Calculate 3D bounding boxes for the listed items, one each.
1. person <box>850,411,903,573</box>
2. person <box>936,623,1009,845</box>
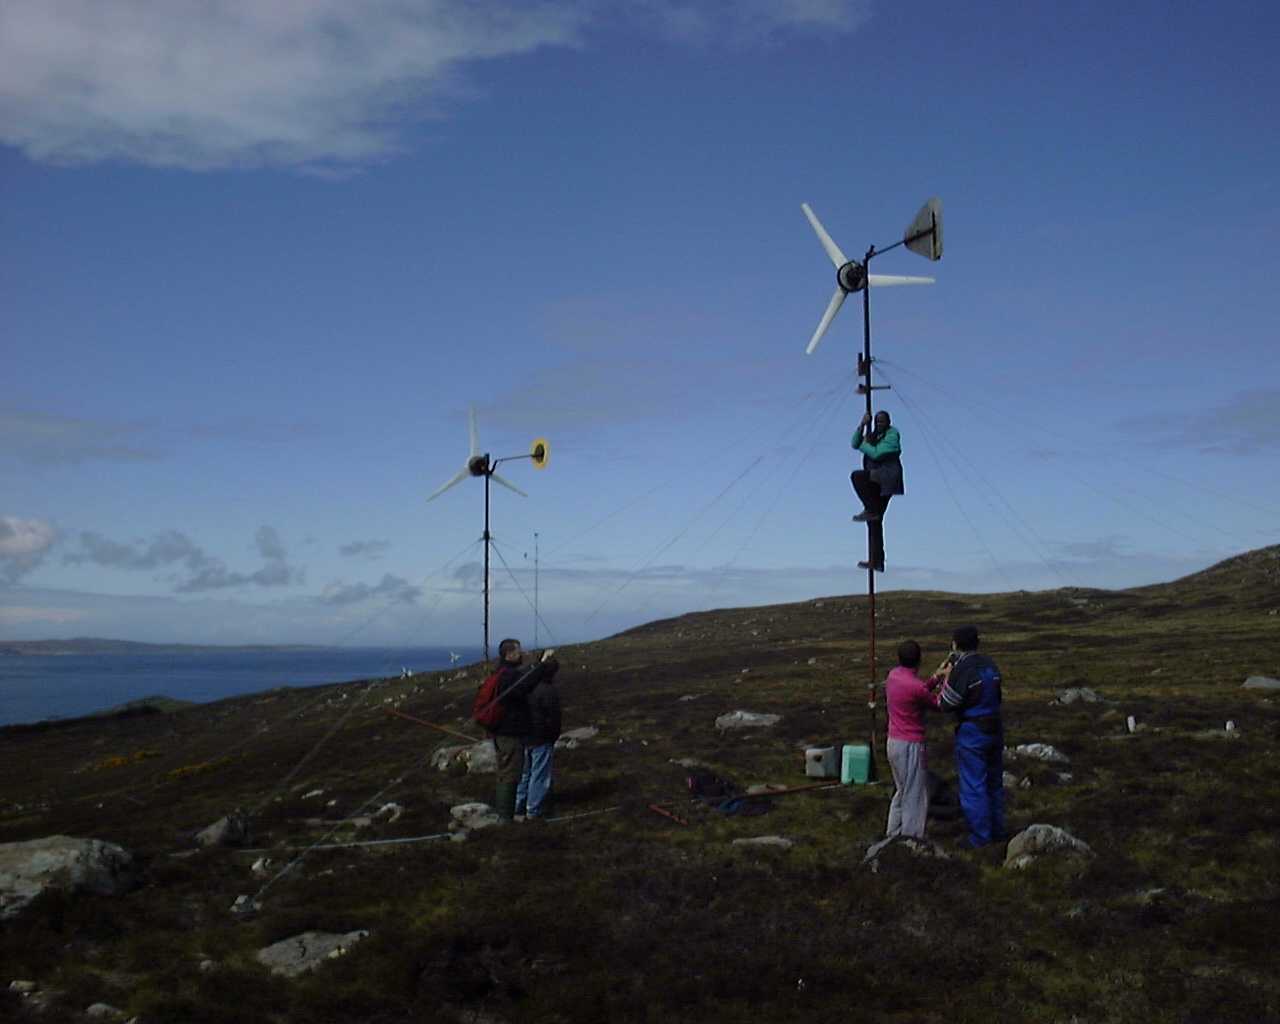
[{"bbox_3d":[4.723,-0.435,21.181,0.687,3.128,0.961,-2,-1,-22],"label":"person"},{"bbox_3d":[5.541,3.709,17.682,0.919,3.657,0.492,-3,-1,14],"label":"person"}]
